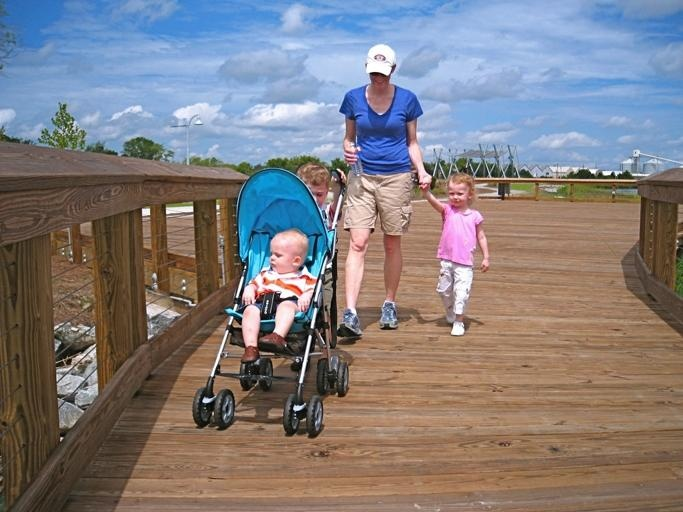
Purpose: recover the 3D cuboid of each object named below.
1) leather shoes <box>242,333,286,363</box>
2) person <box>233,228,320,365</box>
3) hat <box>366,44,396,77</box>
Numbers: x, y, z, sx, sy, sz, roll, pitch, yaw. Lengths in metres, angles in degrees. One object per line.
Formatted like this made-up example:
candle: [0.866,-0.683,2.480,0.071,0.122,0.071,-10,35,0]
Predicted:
leather shoes: [-0.379,0.452,2.598,0.092,0.102,0.240,7,-5,18]
person: [-0.369,0.167,2.886,0.391,0.543,0.846,3,13,3]
hat: [0.278,-1.370,3.739,0.198,0.208,0.126,-1,10,-1]
